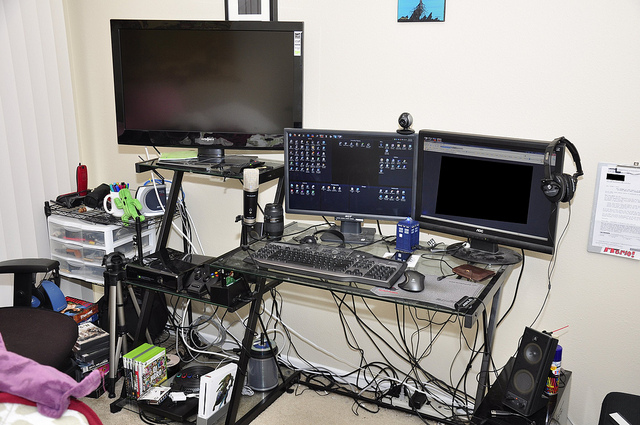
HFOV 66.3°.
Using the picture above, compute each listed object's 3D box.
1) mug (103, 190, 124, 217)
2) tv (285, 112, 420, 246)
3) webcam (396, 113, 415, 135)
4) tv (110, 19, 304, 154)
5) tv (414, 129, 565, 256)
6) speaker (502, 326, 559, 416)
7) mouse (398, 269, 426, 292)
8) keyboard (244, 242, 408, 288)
[{"bbox_3d":[-1.348,-0.057,3.201,0.159,0.160,0.072,15,21,38],"label":"mug"},{"bbox_3d":[0.181,-0.215,2.845,0.773,0.757,0.215,5,13,23],"label":"tv"},{"bbox_3d":[0.475,-0.496,2.722,0.110,0.120,0.110,4,13,22],"label":"webcam"},{"bbox_3d":[-0.642,-0.787,2.935,0.825,0.533,0.081,4,9,9],"label":"tv"},{"bbox_3d":[0.913,-0.121,2.591,0.639,0.471,0.121,9,18,27],"label":"tv"},{"bbox_3d":[1.016,0.772,2.453,0.191,0.443,0.227,17,21,36],"label":"speaker"},{"bbox_3d":[0.447,0.332,2.385,0.112,0.079,0.091,6,17,15],"label":"mouse"},{"bbox_3d":[0.025,0.255,2.551,0.819,0.088,0.276,7,17,17],"label":"keyboard"}]
